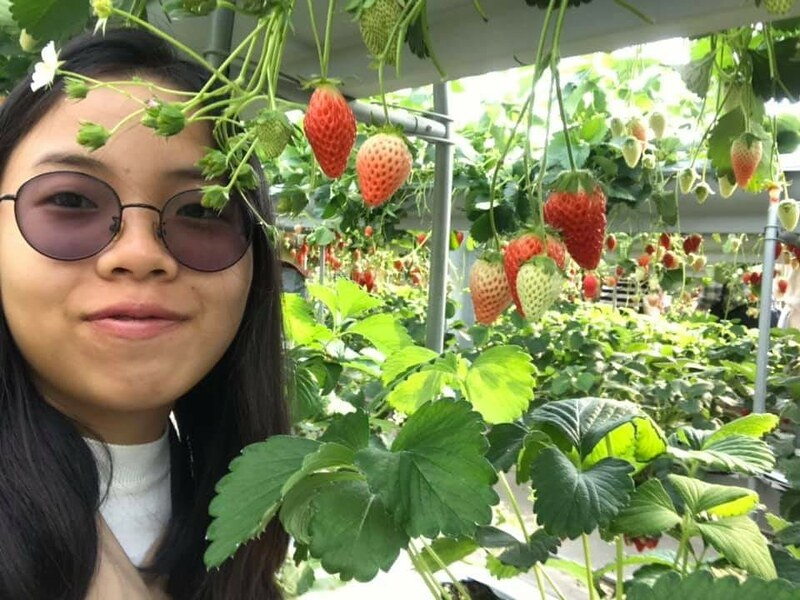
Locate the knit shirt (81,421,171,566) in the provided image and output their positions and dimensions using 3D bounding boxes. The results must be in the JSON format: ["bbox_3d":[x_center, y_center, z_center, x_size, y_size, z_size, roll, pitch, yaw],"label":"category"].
[{"bbox_3d":[-0.521,0.393,1.414,0.181,0.230,0.168,-8,7,-22],"label":"knit shirt"}]

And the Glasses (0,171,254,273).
[{"bbox_3d":[-0.456,-0.138,1.247,0.385,0.168,0.093,0,-2,-13],"label":"Glasses"}]
